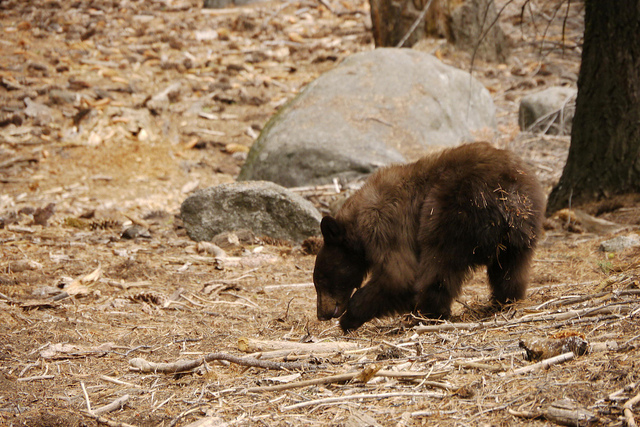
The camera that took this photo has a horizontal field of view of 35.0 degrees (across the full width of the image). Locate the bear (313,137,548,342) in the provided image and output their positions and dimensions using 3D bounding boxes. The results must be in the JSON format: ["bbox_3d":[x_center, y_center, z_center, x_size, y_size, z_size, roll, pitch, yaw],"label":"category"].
[{"bbox_3d":[1.429,0.398,13.188,2.744,2.563,0.957,9,18,5],"label":"bear"}]
